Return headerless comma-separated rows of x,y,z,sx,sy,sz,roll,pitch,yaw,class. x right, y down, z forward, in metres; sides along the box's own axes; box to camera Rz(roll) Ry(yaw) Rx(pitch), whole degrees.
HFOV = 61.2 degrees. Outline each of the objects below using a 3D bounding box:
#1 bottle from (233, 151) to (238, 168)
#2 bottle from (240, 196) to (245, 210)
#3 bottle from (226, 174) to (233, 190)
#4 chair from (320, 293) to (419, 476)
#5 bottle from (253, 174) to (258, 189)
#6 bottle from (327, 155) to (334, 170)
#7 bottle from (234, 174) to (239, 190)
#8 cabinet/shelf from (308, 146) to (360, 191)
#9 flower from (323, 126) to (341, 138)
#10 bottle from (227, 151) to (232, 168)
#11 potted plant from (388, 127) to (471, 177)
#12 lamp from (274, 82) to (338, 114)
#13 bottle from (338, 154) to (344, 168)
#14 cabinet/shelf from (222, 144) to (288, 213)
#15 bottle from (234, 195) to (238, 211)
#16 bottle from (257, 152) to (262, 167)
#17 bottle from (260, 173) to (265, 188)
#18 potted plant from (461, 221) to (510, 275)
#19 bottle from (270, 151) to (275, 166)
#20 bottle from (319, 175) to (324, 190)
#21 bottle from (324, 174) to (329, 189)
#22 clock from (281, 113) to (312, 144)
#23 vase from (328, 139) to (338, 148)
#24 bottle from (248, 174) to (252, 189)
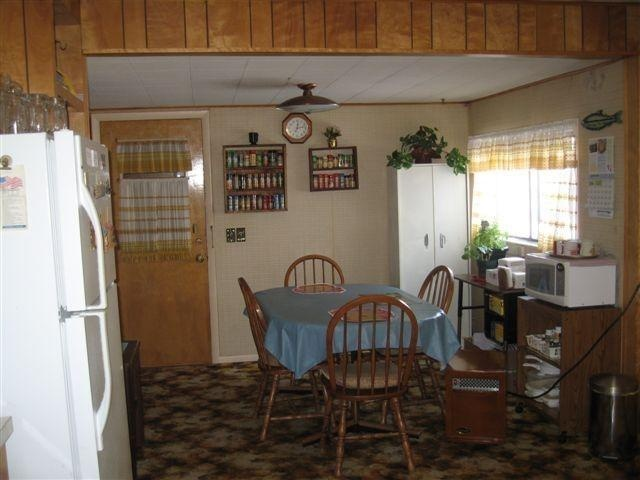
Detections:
-0.878,-0.837,5.678,0.052,0.151,0.033,-3,7,-9,bottle
-0.825,-0.388,5.722,0.052,0.132,0.028,-3,7,-8,bottle
-0.954,-0.600,5.684,0.077,0.163,0.036,-4,7,-19,bottle
0.367,0.899,3.939,0.685,1.210,1.073,-1,7,7,chair
-0.673,-0.624,5.727,0.092,0.165,0.061,-3,7,-8,bottle
0.128,-0.845,5.843,0.087,0.148,0.042,-7,9,-38,bottle
-0.875,-0.608,5.701,0.050,0.151,0.050,-2,7,0,bottle
0.134,-0.781,5.865,0.470,0.412,0.153,-1,2,-8,cabinet/shelf
0.117,-1.167,5.845,0.150,0.078,0.160,1,3,6,flower
-0.942,-0.838,5.666,0.050,0.157,0.022,-2,7,0,bottle
1.080,-0.924,5.755,0.573,0.357,0.732,-2,6,-18,potted plant
-0.134,-1.226,4.604,0.483,0.253,0.631,-3,7,-8,lamp
0.239,-0.856,5.869,0.083,0.137,0.062,-2,7,2,bottle
-0.717,-0.658,5.720,0.709,0.689,0.214,-1,3,-7,cabinet/shelf
-0.877,-0.384,5.710,0.027,0.150,0.063,4,9,42,bottle
-0.634,-0.844,5.704,0.025,0.118,0.073,3,8,32,bottle
-0.613,-0.630,5.724,0.054,0.139,0.039,-7,8,-34,bottle
1.545,0.066,5.339,0.481,0.653,0.490,-3,4,-33,potted plant
-0.507,-0.860,5.720,0.050,0.133,0.024,-2,7,-1,bottle
0.022,-0.625,5.850,0.056,0.154,0.052,-2,7,0,bottle
0.086,-0.626,5.856,0.071,0.143,0.043,-3,7,-11,bottle
-0.265,-1.199,5.769,0.346,0.355,0.028,-1,6,-16,clock
0.139,-1.043,5.847,0.096,0.089,0.098,-3,7,-9,vase
-0.739,-0.613,5.711,0.049,0.146,0.026,-3,7,-9,bottle
